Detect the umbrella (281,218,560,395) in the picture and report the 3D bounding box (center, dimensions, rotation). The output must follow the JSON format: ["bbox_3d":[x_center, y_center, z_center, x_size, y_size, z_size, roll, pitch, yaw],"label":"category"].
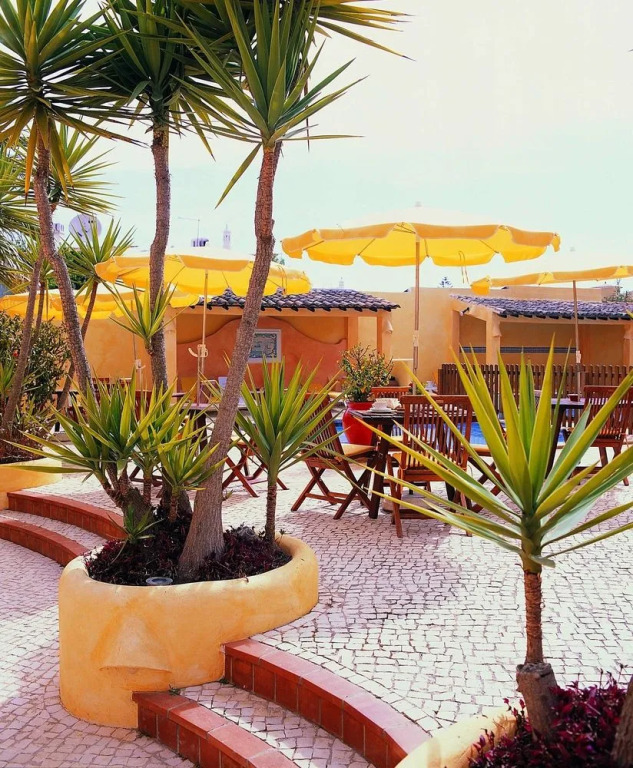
[{"bbox_3d":[1.133,-0.752,6.861,2.505,2.063,2.460,-8,11,-38],"label":"umbrella"}]
